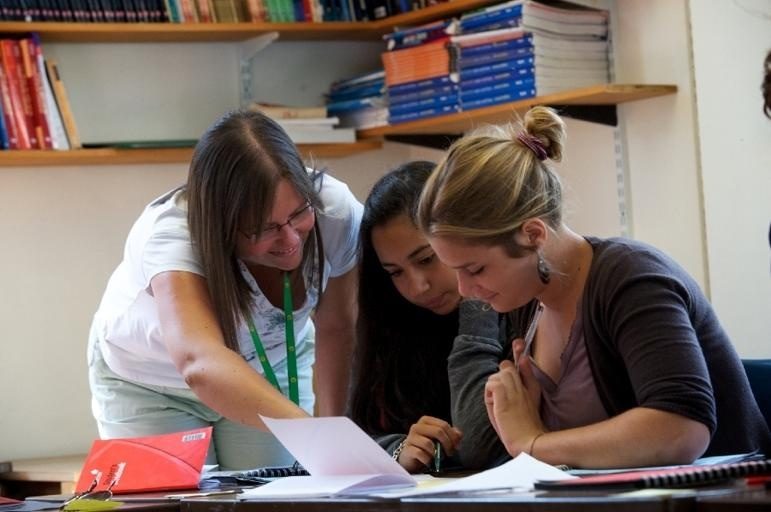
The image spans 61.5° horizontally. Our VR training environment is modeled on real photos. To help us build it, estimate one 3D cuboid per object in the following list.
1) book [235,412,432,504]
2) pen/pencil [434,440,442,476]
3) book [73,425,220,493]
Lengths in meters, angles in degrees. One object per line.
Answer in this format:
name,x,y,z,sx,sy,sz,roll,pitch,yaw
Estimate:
book,-0.096,0.349,1.140,0.283,0.145,0.187,-7,1,19
pen/pencil,0.118,0.456,1.471,0.012,0.081,0.013,-17,-25,33
book,-0.491,0.420,1.315,0.271,0.130,0.161,-7,1,-10
